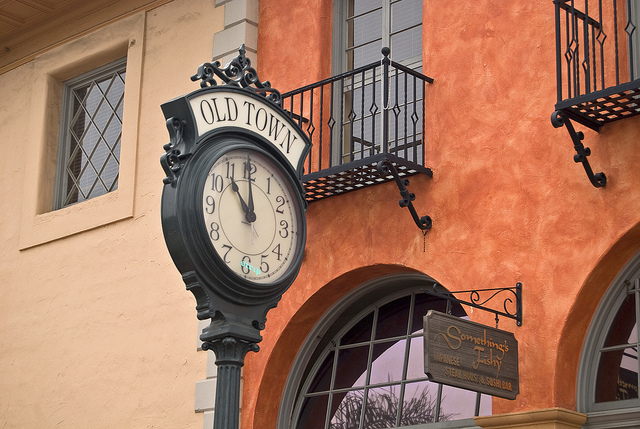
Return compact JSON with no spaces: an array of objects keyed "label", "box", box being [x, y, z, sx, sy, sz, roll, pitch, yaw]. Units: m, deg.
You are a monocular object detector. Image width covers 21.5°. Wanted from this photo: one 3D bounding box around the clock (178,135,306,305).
[{"label":"clock","box":[-0.952,0.079,19.324,1.809,1.994,0.300,9,-21,-40]}]
